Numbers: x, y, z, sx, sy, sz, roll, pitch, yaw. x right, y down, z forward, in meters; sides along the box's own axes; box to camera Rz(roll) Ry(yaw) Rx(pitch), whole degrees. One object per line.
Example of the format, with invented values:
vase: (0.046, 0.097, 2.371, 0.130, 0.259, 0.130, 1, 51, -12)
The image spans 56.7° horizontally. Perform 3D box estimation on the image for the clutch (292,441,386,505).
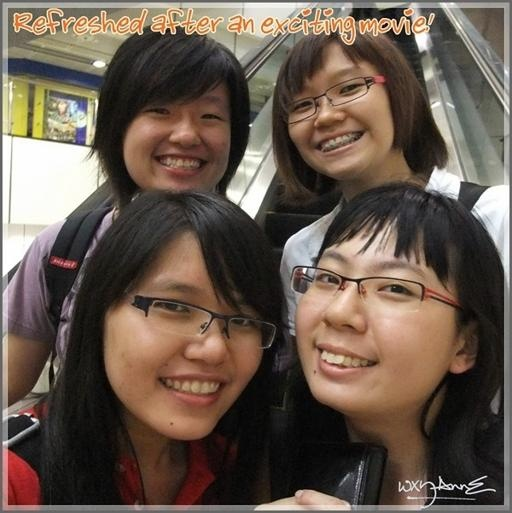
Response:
clutch: (0.294, 0.742, 1.654, 0.267, 0.237, 0.072, -13, -37, 42)
